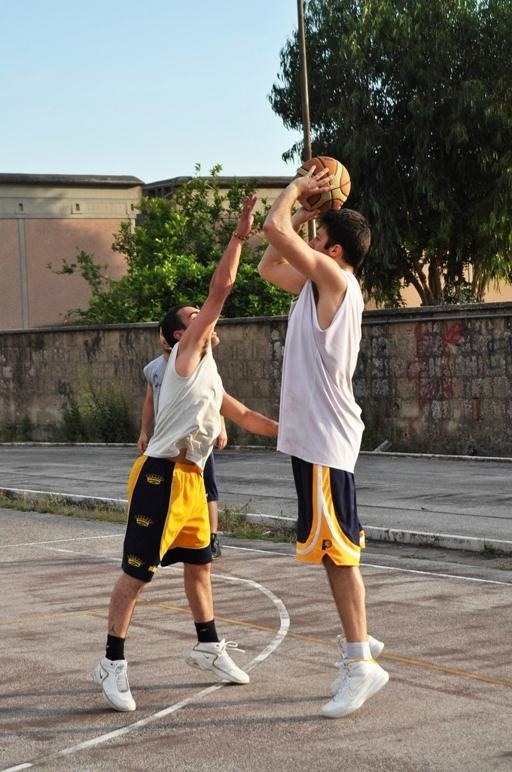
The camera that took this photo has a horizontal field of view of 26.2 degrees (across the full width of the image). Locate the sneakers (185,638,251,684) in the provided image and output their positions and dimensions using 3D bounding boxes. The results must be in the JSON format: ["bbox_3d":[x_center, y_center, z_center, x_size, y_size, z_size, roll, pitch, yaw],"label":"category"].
[{"bbox_3d":[-0.159,1.219,4.960,0.364,0.176,0.150,0,0,3],"label":"sneakers"}]

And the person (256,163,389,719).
[{"bbox_3d":[0.224,0.131,4.702,0.652,1.965,0.731,1,5,4],"label":"person"}]
